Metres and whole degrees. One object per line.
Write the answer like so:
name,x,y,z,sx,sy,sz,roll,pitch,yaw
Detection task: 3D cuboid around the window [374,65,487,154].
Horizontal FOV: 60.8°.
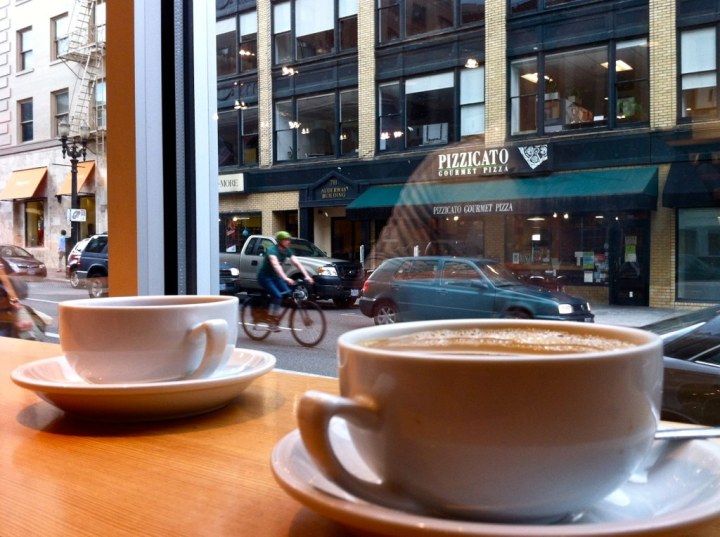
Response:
window,0.152,-0.351,1.370,0.303,0.183,0.014,6,9,44

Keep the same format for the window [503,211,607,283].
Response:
window,0.356,-0.039,1.135,0.067,0.124,0.196,-10,10,-38

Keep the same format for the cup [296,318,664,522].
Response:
cup,0.076,0.082,0.464,0.198,0.097,0.169,0,-3,-19

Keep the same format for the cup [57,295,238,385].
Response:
cup,-0.257,0.068,0.741,0.146,0.072,0.122,0,-1,31

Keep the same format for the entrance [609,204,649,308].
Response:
entrance,0.448,-0.016,1.046,0.069,0.157,0.066,-1,8,26

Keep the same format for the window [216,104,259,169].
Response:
window,-0.340,-0.368,1.692,0.153,0.180,0.017,-2,-4,-8
